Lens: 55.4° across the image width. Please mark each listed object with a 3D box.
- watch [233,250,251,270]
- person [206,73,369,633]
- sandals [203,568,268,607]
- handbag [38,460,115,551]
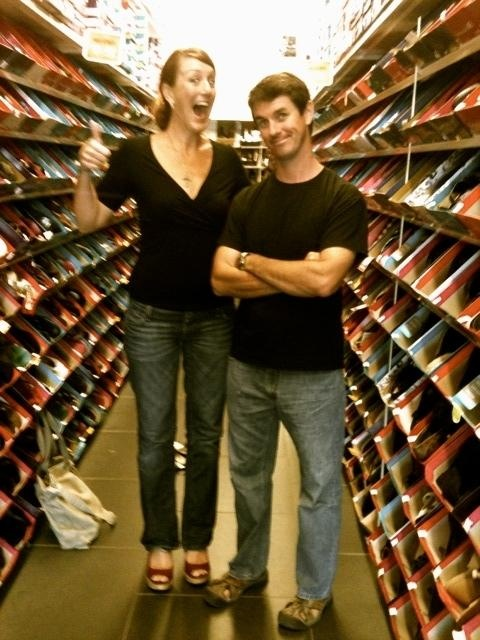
[{"bbox_3d":[0.006,-0.171,1.308,0.039,0.047,0.024,13,-2,26],"label":"watch"},{"bbox_3d":[0.122,0.174,1.377,0.372,1.675,0.532,-1,3,-29],"label":"person"},{"bbox_3d":[-0.008,0.944,1.649,0.081,0.094,0.231,15,2,43],"label":"sandals"},{"bbox_3d":[-0.753,0.847,2.076,0.454,0.124,0.320,23,9,34],"label":"handbag"}]
